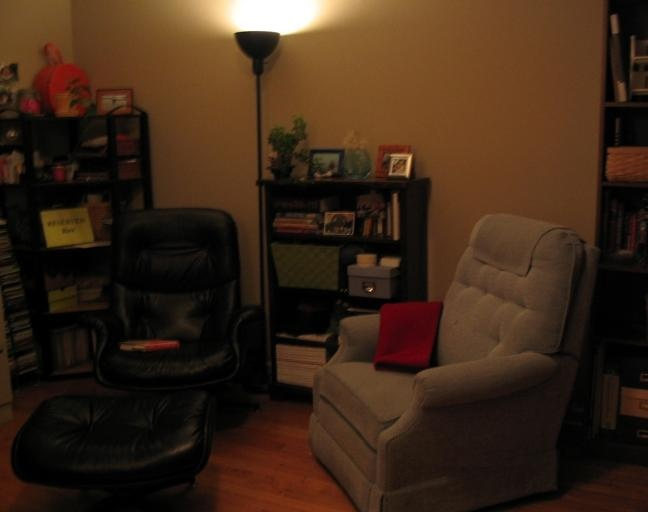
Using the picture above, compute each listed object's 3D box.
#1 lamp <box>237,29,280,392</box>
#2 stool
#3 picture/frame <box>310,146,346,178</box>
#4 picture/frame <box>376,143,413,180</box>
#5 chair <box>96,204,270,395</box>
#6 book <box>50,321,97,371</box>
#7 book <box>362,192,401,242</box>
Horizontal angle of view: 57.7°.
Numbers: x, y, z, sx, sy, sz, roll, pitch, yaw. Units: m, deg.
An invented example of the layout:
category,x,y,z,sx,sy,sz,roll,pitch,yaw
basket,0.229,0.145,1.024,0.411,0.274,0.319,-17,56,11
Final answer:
category,x,y,z,sx,sy,sz,roll,pitch,yaw
lamp,-0.408,-0.515,3.741,0.287,1.728,0.289,-1,-1,-6
stool,-0.900,0.847,2.588,0.828,0.326,0.513,-3,14,-9
picture/frame,0.023,-0.575,3.666,0.221,0.195,0.026,-1,-25,10
picture/frame,0.421,-0.555,3.496,0.235,0.229,0.085,-1,-9,33
chair,-0.884,0.231,3.655,1.077,1.186,1.006,-1,1,-3
book,-1.739,0.616,4.053,0.145,0.401,0.406,2,2,40
book,0.329,-0.244,3.455,0.270,0.331,0.248,-8,11,-42
